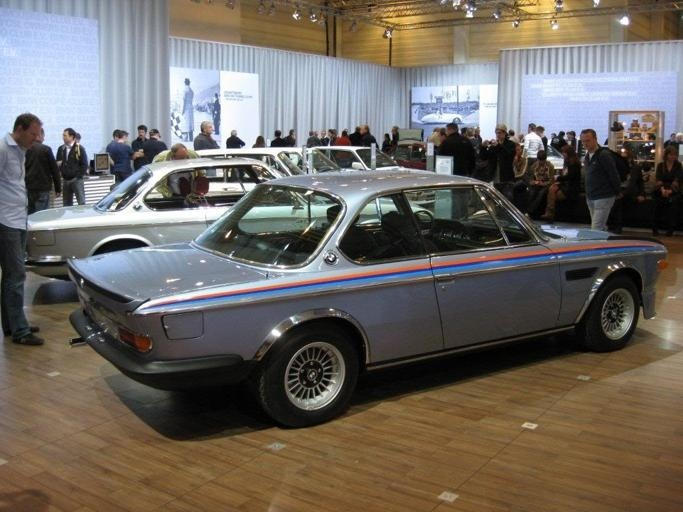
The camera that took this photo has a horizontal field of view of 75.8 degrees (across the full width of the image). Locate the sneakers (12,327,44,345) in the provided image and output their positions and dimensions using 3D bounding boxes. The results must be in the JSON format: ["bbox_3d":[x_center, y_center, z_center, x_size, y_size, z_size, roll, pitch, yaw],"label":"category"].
[{"bbox_3d":[-3.275,0.824,4.561,0.236,0.165,0.384,-5,8,-40],"label":"sneakers"}]

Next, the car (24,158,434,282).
[{"bbox_3d":[-1.996,-0.550,6.540,4.370,1.250,1.905,-4,7,-25],"label":"car"}]

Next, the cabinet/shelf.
[{"bbox_3d":[10.424,-4.207,15.252,1.181,1.941,0.704,7,25,39],"label":"cabinet/shelf"}]

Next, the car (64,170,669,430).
[{"bbox_3d":[0.509,0.208,3.781,4.290,1.232,1.979,-7,12,-26],"label":"car"}]
